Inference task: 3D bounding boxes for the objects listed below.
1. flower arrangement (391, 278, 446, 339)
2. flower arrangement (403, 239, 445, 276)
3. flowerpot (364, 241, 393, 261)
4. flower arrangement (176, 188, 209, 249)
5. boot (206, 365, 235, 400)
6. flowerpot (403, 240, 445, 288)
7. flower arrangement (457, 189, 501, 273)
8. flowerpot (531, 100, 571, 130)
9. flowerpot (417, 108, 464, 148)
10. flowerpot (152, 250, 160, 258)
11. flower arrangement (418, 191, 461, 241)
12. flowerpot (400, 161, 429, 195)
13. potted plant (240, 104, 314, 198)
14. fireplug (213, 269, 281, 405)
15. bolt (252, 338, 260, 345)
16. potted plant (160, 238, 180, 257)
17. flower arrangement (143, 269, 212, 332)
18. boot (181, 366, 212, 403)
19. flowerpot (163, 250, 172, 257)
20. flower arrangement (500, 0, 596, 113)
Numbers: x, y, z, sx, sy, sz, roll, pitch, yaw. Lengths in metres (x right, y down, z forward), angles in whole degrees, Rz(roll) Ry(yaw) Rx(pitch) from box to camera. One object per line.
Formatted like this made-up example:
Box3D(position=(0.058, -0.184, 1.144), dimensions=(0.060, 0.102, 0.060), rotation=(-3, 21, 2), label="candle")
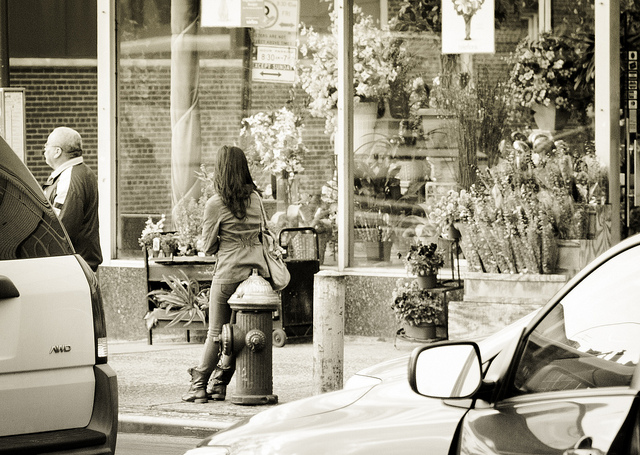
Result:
Box3D(position=(1.152, 1.002, 14.511), dimensions=(0.608, 0.649, 0.605), rotation=(1, 1, 10), label="flower arrangement")
Box3D(position=(1.206, 0.377, 14.575), dimensions=(0.366, 0.299, 0.377), rotation=(-6, 2, -44), label="flower arrangement")
Box3D(position=(0.747, 0.320, 15.661), dimensions=(0.219, 0.197, 0.288), rotation=(0, -2, 24), label="flowerpot")
Box3D(position=(-1.757, -0.126, 16.329), dimensions=(0.437, 0.775, 0.708), rotation=(1, 5, -2), label="flower arrangement")
Box3D(position=(-1.120, 1.658, 12.658), dimensions=(0.320, 0.366, 0.172), rotation=(-7, -27, 30), label="boot")
Box3D(position=(1.229, 0.453, 14.476), dimensions=(0.451, 0.542, 0.469), rotation=(-1, -5, -8), label="flowerpot")
Box3D(position=(1.747, 0.063, 13.713), dimensions=(0.247, 1.241, 0.252), rotation=(-26, -11, 36), label="flower arrangement")
Box3D(position=(2.852, -1.391, 15.097), dimensions=(0.427, 0.414, 0.488), rotation=(-2, 0, 35), label="flowerpot")
Box3D(position=(1.521, -1.264, 15.419), dimensions=(0.501, 0.479, 0.457), rotation=(-1, -3, 11), label="flowerpot")
Box3D(position=(-2.185, 0.359, 15.994), dimensions=(0.081, 0.072, 0.088), rotation=(-1, -6, -8), label="flowerpot")
Box3D(position=(1.512, -0.140, 15.178), dimensions=(0.348, 0.620, 0.716), rotation=(1, 5, -9), label="flower arrangement")
Box3D(position=(1.184, -0.623, 15.662), dimensions=(0.344, 0.511, 0.370), rotation=(3, -3, -17), label="flowerpot")
Box3D(position=(-0.549, -1.053, 16.338), dimensions=(0.718, 1.439, 0.843), rotation=(-1, 6, -39), label="potted plant")
Box3D(position=(-0.739, 1.160, 12.347), dimensions=(0.597, 1.300, 0.322), rotation=(1, 5, -6), label="fireplug")
Box3D(position=(-0.665, 1.164, 12.222), dimensions=(0.058, 0.070, 0.022), rotation=(1, 3, -7), label="bolt")
Box3D(position=(-1.988, 0.277, 15.963), dimensions=(0.182, 0.240, 0.200), rotation=(-2, 0, 22), label="potted plant")
Box3D(position=(-1.840, 0.925, 15.644), dimensions=(0.700, 0.826, 0.379), rotation=(-2, -16, 24), label="flower arrangement")
Box3D(position=(-1.319, 1.653, 12.573), dimensions=(0.315, 0.367, 0.177), rotation=(2, 6, 29), label="boot")
Box3D(position=(-2.023, 0.351, 15.939), dimensions=(0.069, 0.091, 0.076), rotation=(-1, -6, -5), label="flowerpot")
Box3D(position=(2.828, -2.108, 14.890), dimensions=(1.149, 1.351, 0.344), rotation=(6, 7, 41), label="flower arrangement")
